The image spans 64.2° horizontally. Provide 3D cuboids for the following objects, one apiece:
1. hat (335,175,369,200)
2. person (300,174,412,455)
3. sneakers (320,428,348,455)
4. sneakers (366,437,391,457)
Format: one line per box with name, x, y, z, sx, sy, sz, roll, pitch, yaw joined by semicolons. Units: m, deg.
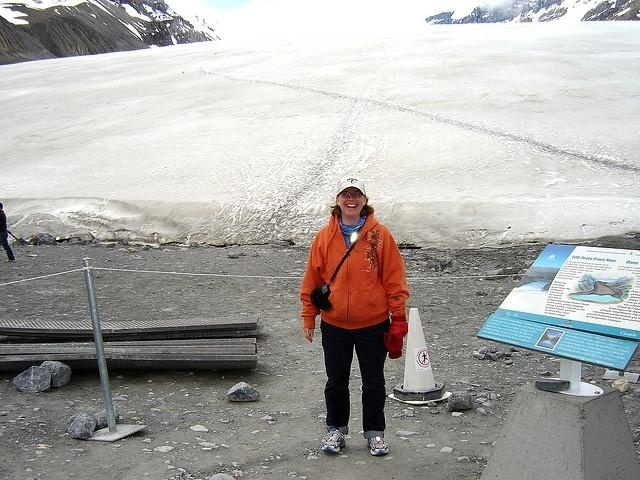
hat;0.255;-0.424;3.990;0.214;0.157;0.216;2;10;2
person;0.278;0.598;3.977;0.685;2.165;0.681;-2;14;-18
sneakers;0.121;1.593;4.009;0.152;0.089;0.267;-2;-12;14
sneakers;0.471;1.607;3.968;0.140;0.067;0.208;-1;-10;2
